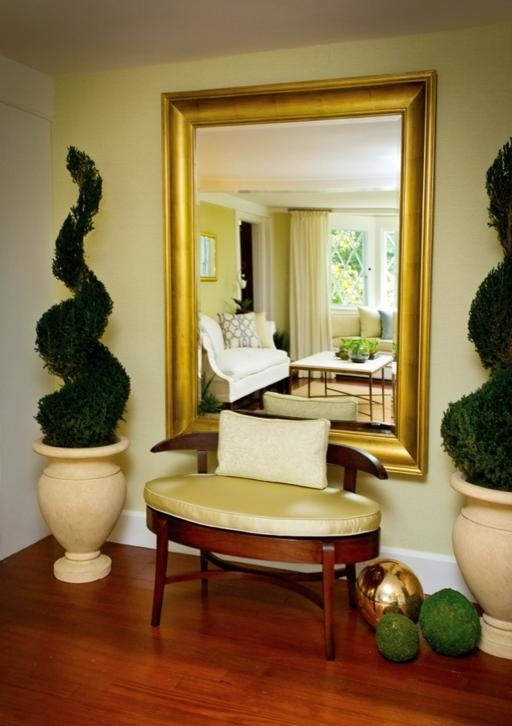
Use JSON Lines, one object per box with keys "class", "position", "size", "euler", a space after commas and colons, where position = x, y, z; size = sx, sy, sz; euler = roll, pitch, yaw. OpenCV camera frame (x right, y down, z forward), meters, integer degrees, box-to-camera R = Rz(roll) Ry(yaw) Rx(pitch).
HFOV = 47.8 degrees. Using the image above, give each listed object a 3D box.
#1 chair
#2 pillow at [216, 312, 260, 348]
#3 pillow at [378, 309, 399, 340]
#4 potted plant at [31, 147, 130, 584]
{"class": "chair", "position": [0.062, 0.539, 2.355], "size": [1.191, 0.813, 0.655], "euler": [2, 4, 20]}
{"class": "pillow", "position": [-0.078, -0.159, 2.822], "size": [0.180, 0.170, 0.055], "euler": [1, 7, 11]}
{"class": "pillow", "position": [0.584, -0.174, 2.535], "size": [0.043, 0.113, 0.119], "euler": [-12, 13, -42]}
{"class": "potted plant", "position": [-0.811, 0.007, 2.685], "size": [0.421, 2.022, 0.313], "euler": [0, 1, -21]}
